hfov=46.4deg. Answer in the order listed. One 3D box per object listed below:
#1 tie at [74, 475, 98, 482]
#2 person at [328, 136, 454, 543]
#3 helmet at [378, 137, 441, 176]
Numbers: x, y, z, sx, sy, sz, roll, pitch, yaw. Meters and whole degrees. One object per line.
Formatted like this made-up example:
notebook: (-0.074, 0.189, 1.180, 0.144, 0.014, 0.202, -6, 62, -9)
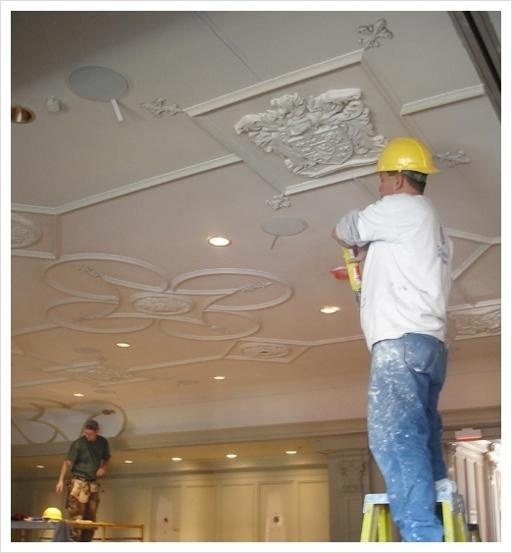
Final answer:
tie: (-2.159, 2.574, 7.576, 0.137, 0.078, 0.301, -13, -24, 31)
person: (0.551, 0.264, 2.114, 0.420, 1.218, 0.323, 18, -30, -33)
helmet: (0.597, -0.508, 2.449, 0.235, 0.097, 0.182, 9, 28, 34)
